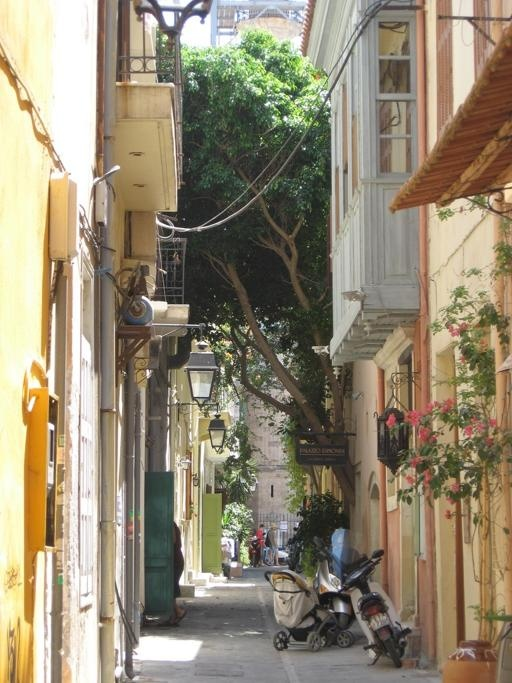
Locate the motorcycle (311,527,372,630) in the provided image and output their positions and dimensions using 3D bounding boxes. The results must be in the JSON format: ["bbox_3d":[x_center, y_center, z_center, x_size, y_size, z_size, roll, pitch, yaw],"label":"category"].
[{"bbox_3d":[0.953,2.622,16.600,0.458,0.916,1.086,4,1,2],"label":"motorcycle"}]

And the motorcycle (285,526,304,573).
[{"bbox_3d":[0.786,3.762,26.896,0.430,0.897,1.187,0,-10,-4],"label":"motorcycle"}]

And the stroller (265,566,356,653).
[{"bbox_3d":[0.449,2.929,16.233,0.601,1.220,1.013,-3,-2,43],"label":"stroller"}]
